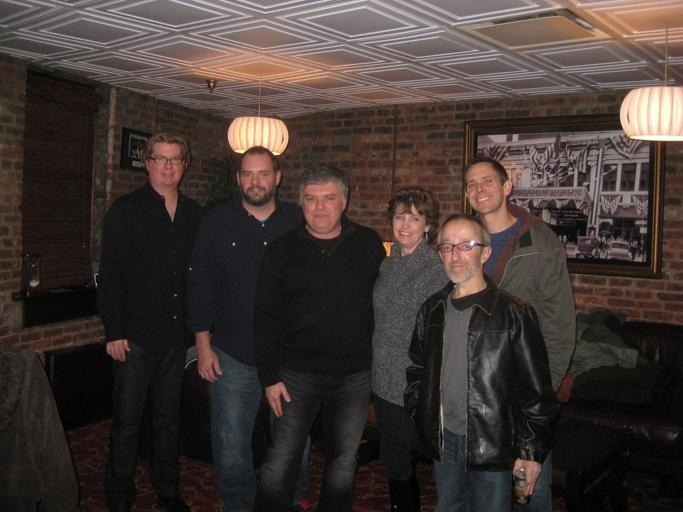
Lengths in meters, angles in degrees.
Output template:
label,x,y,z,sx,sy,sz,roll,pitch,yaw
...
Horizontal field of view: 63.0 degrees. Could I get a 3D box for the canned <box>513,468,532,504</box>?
label,x,y,z,sx,sy,sz,roll,pitch,yaw
canned,0.880,1.126,2.731,0.071,0.242,0.133,2,6,18

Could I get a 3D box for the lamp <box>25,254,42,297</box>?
label,x,y,z,sx,sy,sz,roll,pitch,yaw
lamp,-3.200,0.169,5.800,0.171,0.394,0.356,-4,7,-29

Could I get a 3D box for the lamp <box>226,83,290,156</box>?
label,x,y,z,sx,sy,sz,roll,pitch,yaw
lamp,-0.896,-1.320,6.006,0.617,0.405,0.352,-1,6,-10
